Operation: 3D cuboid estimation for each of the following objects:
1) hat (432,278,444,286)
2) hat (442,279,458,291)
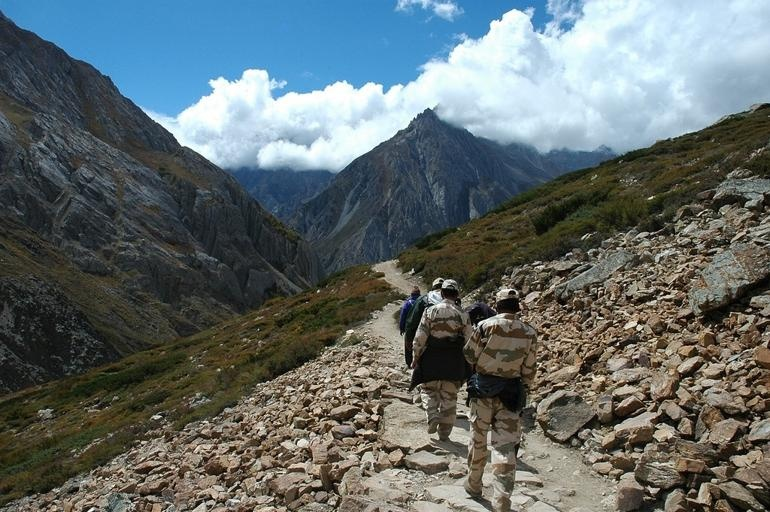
[{"bbox_3d":[2.036,1.053,19.542,0.437,0.202,0.569,-1,-21,-17],"label":"hat"},{"bbox_3d":[2.303,1.025,17.375,0.565,0.379,0.884,4,-7,5],"label":"hat"}]
